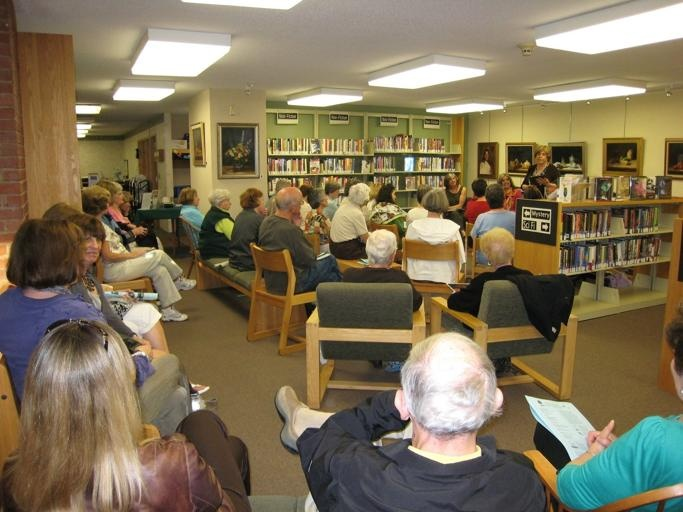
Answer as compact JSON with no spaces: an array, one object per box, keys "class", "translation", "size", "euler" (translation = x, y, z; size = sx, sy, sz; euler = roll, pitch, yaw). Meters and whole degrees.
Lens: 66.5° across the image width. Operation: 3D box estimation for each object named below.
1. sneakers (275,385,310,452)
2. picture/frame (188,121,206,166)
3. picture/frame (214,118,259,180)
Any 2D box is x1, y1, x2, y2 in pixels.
[{"class":"sneakers","translation":[-0.289,0.894,3.028],"size":[0.174,0.423,0.151],"euler":[26,-49,-38]},{"class":"picture/frame","translation":[-2.550,-2.017,9.249],"size":[0.081,0.949,1.013],"euler":[-2,6,-24]},{"class":"picture/frame","translation":[-1.808,-1.840,8.791],"size":[1.035,1.215,0.086],"euler":[-5,8,-33]}]
